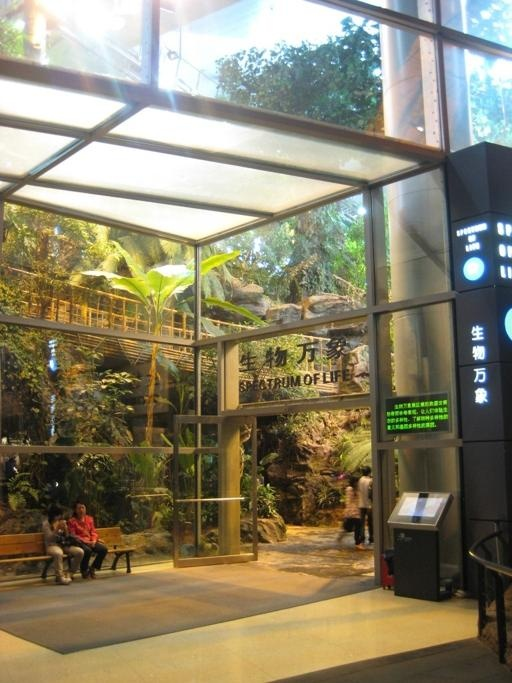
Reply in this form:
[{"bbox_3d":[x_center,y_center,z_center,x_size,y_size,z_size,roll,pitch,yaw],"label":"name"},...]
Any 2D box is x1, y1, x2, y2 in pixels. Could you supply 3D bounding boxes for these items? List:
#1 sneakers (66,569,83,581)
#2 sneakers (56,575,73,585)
[{"bbox_3d":[-2.543,3.258,8.674,0.160,0.239,0.133,-2,7,7],"label":"sneakers"},{"bbox_3d":[-2.561,3.164,8.251,0.178,0.159,0.103,2,-16,-10],"label":"sneakers"}]
